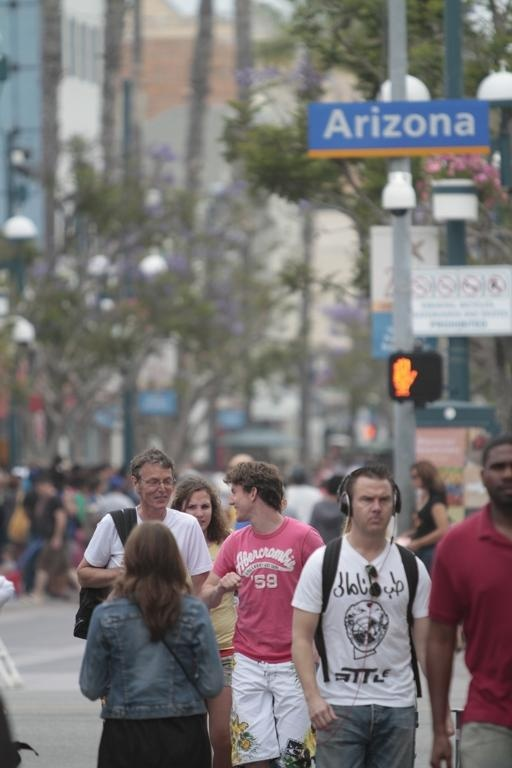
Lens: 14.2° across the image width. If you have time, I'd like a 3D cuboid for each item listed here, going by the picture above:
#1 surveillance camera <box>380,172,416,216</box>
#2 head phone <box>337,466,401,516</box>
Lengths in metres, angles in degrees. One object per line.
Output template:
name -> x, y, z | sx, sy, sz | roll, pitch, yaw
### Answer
surveillance camera -> 0.892, -1.209, 12.768 | 0.195, 0.241, 0.342 | -1, 4, 5
head phone -> 0.541, 0.511, 9.634 | 0.271, 0.259, 0.284 | 0, -3, -6
